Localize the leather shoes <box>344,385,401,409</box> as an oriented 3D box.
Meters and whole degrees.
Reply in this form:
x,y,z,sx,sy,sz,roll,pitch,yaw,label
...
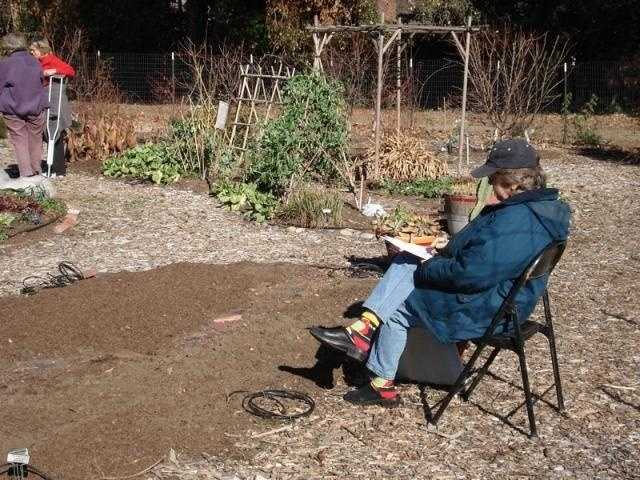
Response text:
x,y,z,sx,sy,sz,roll,pitch,yaw,label
0.358,1.041,4.112,0.350,0.141,0.144,5,7,11,leather shoes

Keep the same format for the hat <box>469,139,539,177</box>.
x,y,z,sx,sy,sz,roll,pitch,yaw,label
1.159,-0.530,3.852,0.378,0.173,0.238,0,15,8,hat

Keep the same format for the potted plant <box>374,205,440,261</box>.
x,y,z,sx,sy,sz,roll,pitch,yaw,label
0.892,-0.130,6.176,0.749,0.456,0.684,4,6,11,potted plant

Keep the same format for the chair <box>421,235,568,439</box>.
x,y,z,sx,sy,sz,roll,pitch,yaw,label
1.188,0.605,3.939,0.719,1.163,0.720,2,-3,33,chair
